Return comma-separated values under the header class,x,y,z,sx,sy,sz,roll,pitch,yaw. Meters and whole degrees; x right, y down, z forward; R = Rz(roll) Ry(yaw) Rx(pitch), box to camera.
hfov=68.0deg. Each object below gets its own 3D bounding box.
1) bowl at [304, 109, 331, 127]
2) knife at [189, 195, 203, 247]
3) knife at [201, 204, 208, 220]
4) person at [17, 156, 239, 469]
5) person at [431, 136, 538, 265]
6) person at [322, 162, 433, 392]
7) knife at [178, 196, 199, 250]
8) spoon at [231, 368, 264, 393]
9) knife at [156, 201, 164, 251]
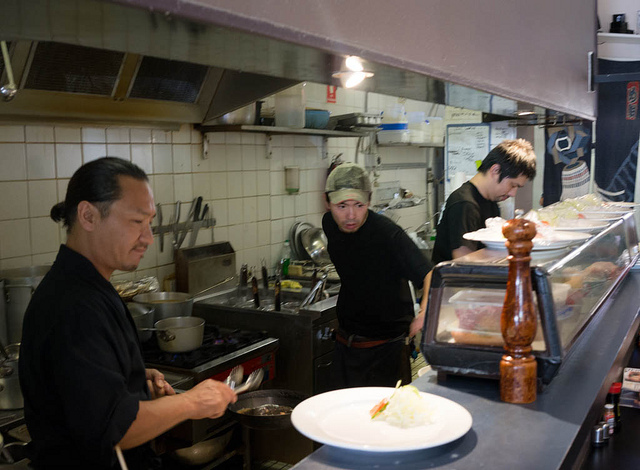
class,x,y,z,sx,sy,sz,roll,pitch,yaw
bowl,-0.059,-1.053,4.314,0.116,0.147,0.354,6,10,38
knife,-0.954,-0.112,3.687,0.021,0.409,0.062,13,-2,36
knife,-0.897,-0.180,3.734,0.028,0.134,0.025,21,0,-39
person,-0.701,0.255,1.649,0.487,1.041,0.489,5,10,32
person,1.007,-0.212,2.941,0.788,0.768,0.375,-6,10,-33
person,0.316,0.266,2.725,0.652,1.328,0.330,2,9,14
knife,-0.996,-0.093,3.632,0.017,0.456,0.066,-1,-28,46
spoon,-0.299,0.631,2.041,0.191,0.067,0.110,-22,-13,42
knife,-1.148,-0.065,3.449,0.045,0.290,0.008,-2,-4,-45
